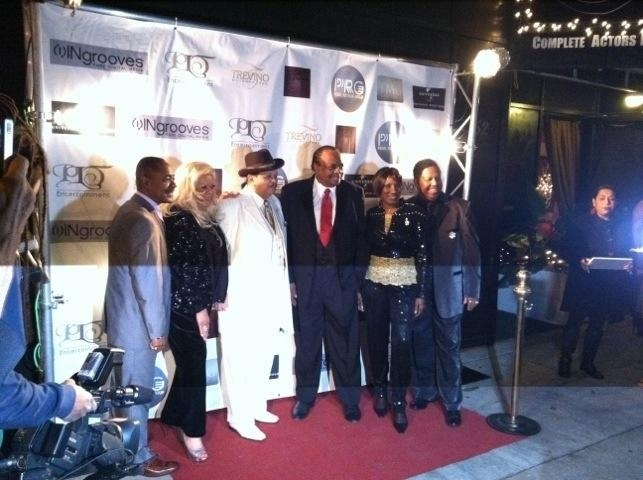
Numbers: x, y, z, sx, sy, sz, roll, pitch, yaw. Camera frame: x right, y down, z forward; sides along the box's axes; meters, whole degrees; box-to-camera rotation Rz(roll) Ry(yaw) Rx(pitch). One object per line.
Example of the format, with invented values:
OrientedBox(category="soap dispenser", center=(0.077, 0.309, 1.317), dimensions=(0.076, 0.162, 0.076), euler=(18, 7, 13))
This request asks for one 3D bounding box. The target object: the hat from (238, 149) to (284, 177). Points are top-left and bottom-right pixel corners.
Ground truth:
OrientedBox(category="hat", center=(-0.561, -0.678, 5.041), dimensions=(0.285, 0.116, 0.251), euler=(-20, 6, 21))

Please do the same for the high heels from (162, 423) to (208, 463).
OrientedBox(category="high heels", center=(-1.094, 1.669, 4.618), dimensions=(0.136, 0.456, 0.183), euler=(-38, 7, -32))

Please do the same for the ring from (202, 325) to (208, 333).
OrientedBox(category="ring", center=(-0.953, 0.728, 4.576), dimensions=(0.053, 0.061, 0.020), euler=(-11, 18, -43))

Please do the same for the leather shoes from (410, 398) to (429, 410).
OrientedBox(category="leather shoes", center=(0.924, 1.566, 5.411), dimensions=(0.150, 0.068, 0.085), euler=(5, -5, -37))

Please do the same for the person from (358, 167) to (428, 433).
OrientedBox(category="person", center=(0.618, 0.512, 5.148), dimensions=(0.611, 2.235, 0.685), euler=(7, 15, 26))

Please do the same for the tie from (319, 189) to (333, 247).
OrientedBox(category="tie", center=(0.031, -0.221, 5.215), dimensions=(0.127, 0.676, 0.034), euler=(4, -38, -1))

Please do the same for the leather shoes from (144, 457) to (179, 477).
OrientedBox(category="leather shoes", center=(-1.267, 1.779, 4.438), dimensions=(0.223, 0.098, 0.122), euler=(-3, 0, 11))

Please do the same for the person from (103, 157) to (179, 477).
OrientedBox(category="person", center=(-1.431, 0.591, 4.471), dimensions=(0.578, 2.379, 0.807), euler=(-3, 14, -15))

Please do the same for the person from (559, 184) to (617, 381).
OrientedBox(category="person", center=(2.902, 0.473, 6.142), dimensions=(0.503, 2.051, 0.607), euler=(5, 14, 18))

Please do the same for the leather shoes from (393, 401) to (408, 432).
OrientedBox(category="leather shoes", center=(0.694, 1.565, 5.029), dimensions=(0.089, 0.123, 0.280), euler=(-2, 27, 0))

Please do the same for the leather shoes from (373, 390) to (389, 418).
OrientedBox(category="leather shoes", center=(0.552, 1.507, 5.194), dimensions=(0.092, 0.122, 0.265), euler=(0, 19, 3))
